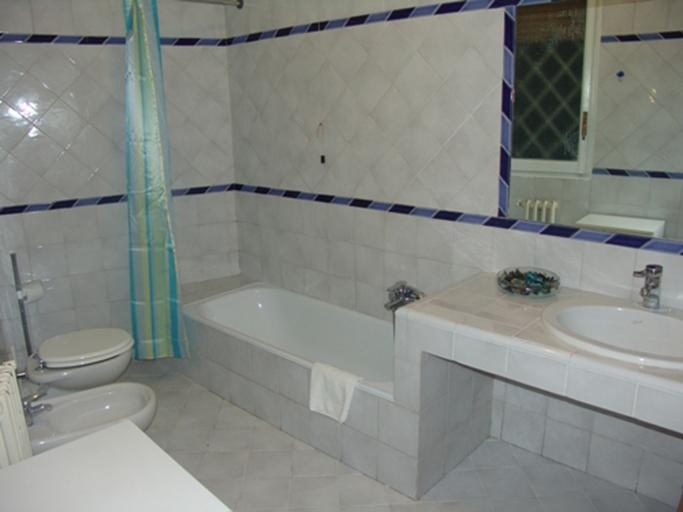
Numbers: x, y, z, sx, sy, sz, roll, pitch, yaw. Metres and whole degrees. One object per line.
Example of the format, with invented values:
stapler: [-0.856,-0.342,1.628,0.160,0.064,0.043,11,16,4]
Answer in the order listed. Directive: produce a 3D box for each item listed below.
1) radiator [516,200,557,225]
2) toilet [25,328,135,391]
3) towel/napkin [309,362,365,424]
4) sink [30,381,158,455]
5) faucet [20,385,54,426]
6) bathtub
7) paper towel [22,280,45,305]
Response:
radiator: [1.019,-0.229,2.732,0.113,0.138,0.017,7,20,38]
toilet: [-1.607,0.615,3.284,0.424,0.208,0.373,-6,17,-26]
towel/napkin: [-0.023,0.708,2.909,0.290,0.314,0.108,22,19,26]
sink: [-1.429,0.901,3.109,0.630,0.159,0.361,-17,29,-41]
faucet: [-1.605,0.788,2.785,0.172,0.101,0.257,-20,-2,-21]
bathtub: [-0.376,0.541,3.540,1.410,0.432,0.676,7,15,38]
paper towel: [-1.988,0.226,3.406,0.045,0.102,0.126,-5,-5,41]
